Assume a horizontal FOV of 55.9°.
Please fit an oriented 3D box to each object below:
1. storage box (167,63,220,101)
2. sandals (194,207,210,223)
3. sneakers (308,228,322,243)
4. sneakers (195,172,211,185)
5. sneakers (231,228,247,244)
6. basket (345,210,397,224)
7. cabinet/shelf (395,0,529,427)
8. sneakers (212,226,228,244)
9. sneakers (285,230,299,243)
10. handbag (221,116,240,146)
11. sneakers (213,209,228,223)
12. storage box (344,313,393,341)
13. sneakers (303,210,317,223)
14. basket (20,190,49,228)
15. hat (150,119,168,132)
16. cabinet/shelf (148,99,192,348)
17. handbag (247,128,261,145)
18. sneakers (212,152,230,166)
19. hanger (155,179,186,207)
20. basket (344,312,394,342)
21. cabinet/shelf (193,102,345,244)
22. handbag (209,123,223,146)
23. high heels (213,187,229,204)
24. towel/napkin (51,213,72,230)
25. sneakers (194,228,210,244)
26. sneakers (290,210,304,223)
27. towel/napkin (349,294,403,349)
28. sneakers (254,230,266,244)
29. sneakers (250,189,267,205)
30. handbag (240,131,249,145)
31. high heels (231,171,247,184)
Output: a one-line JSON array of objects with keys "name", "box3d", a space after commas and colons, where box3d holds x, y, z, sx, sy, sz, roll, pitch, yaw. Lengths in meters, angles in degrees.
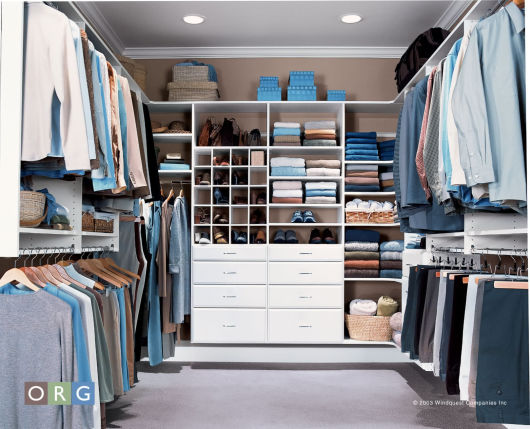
[{"name": "storage box", "box3d": [-0.659, -1.205, 4.764, 0.450, 0.346, 0.358, 0, 3, 3]}, {"name": "sandals", "box3d": [-0.579, 0.011, 4.632, 0.135, 0.144, 0.046, -2, -6, -27]}, {"name": "sneakers", "box3d": [0.465, 0.202, 4.673, 0.102, 0.129, 0.313, -1, -5, 3]}, {"name": "sneakers", "box3d": [-0.572, -0.333, 4.638, 0.141, 0.157, 0.261, 0, -4, -9]}, {"name": "sneakers", "box3d": [-0.235, 0.205, 4.618, 0.115, 0.142, 0.323, -1, 3, -2]}, {"name": "basket", "box3d": [0.947, 0.034, 4.570, 0.420, 0.128, 0.120, -1, -4, 1]}, {"name": "cabinet/shelf", "box3d": [1.120, -0.020, 2.646, 0.358, 2.060, 0.742, 1, -4, -22]}, {"name": "sneakers", "box3d": [-0.407, 0.192, 4.635, 0.141, 0.163, 0.215, -1, -4, -5]}, {"name": "sneakers", "box3d": [0.231, 0.207, 4.630, 0.108, 0.130, 0.192, 0, -4, -13]}, {"name": "handbag", "box3d": [-0.321, -0.773, 4.693, 0.181, 0.323, 0.071, 0, -1, -6]}, {"name": "sneakers", "box3d": [-0.407, 0.016, 4.654, 0.147, 0.147, 0.201, -1, -4, -6]}, {"name": "storage box", "box3d": [0.913, 0.984, 4.398, 0.285, 0.147, 0.229, 0, -5, 0]}, {"name": "sneakers", "box3d": [0.402, 0.022, 4.646, 0.106, 0.137, 0.251, -1, -4, -3]}, {"name": "basket", "box3d": [-1.189, -0.033, 2.576, 0.160, 0.129, 0.139, 0, -1, -44]}, {"name": "hat", "box3d": [-0.972, -0.808, 4.667, 0.137, 0.132, 0.159, -4, -5, 40]}, {"name": "cabinet/shelf", "box3d": [-0.856, 0.091, 4.642, 0.423, 2.213, 0.513, 0, -4, -13]}, {"name": "handbag", "box3d": [-0.095, -0.722, 4.710, 0.099, 0.106, 0.158, 0, -3, -13]}, {"name": "sneakers", "box3d": [-0.409, -0.513, 4.646, 0.072, 0.090, 0.220, 1, 4, 6]}, {"name": "hanger", "box3d": [-0.834, -0.189, 4.437, 0.254, 0.153, 0.017, -1, 5, 8]}, {"name": "basket", "box3d": [0.919, 0.995, 4.420, 0.285, 0.148, 0.229, 1, -5, -1]}, {"name": "cabinet/shelf", "box3d": [0.029, -0.350, 4.643, 1.193, 1.225, 0.334, 0, -5, -3]}, {"name": "handbag", "box3d": [-0.451, -0.744, 4.643, 0.118, 0.171, 0.050, 7, 0, 27]}, {"name": "high heels", "box3d": [-0.407, -0.168, 4.611, 0.134, 0.164, 0.411, -2, 1, -1]}, {"name": "towel/napkin", "box3d": [-1.136, 0.047, 2.834, 0.024, 0.081, 0.082, -2, -2, 9]}, {"name": "sneakers", "box3d": [-0.569, 0.209, 4.621, 0.072, 0.091, 0.222, 0, -8, 0]}, {"name": "sneakers", "box3d": [0.299, 0.019, 4.643, 0.087, 0.111, 0.271, 0, -6, 2]}, {"name": "towel/napkin", "box3d": [0.954, 0.926, 4.402, 0.405, 0.308, 0.337, -1, -8, 12]}, {"name": "sneakers", "box3d": [-0.046, 0.217, 4.637, 0.075, 0.115, 0.121, 4, -28, -6]}, {"name": "sneakers", "box3d": [-0.058, -0.169, 4.725, 0.074, 0.094, 0.229, 0, 3, 15]}, {"name": "handbag", "box3d": [-0.188, -0.712, 4.699, 0.096, 0.113, 0.275, -1, 10, 1]}, {"name": "high heels", "box3d": [-0.234, -0.341, 4.661, 0.147, 0.170, 0.258, -1, -4, -2]}]
